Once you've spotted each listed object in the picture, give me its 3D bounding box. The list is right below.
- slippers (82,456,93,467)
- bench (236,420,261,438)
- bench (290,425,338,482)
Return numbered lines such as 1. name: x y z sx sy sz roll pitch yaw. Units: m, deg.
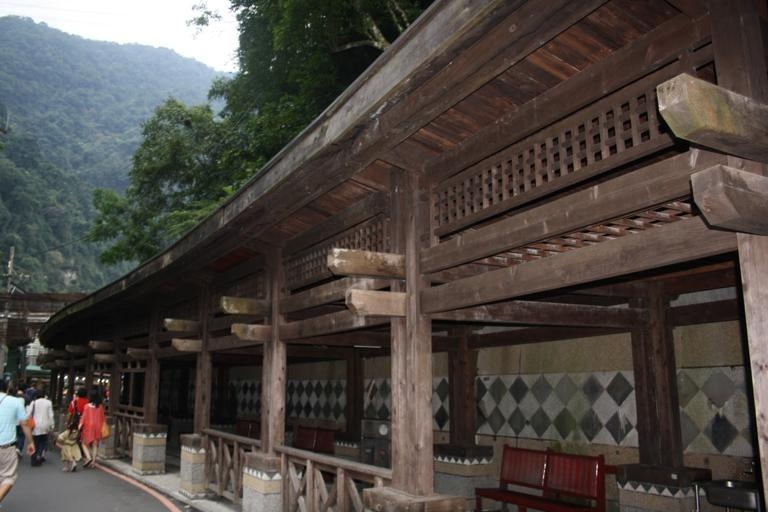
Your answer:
1. slippers: -7.116 4.985 14.330 0.146 0.363 0.153 18 19 -42
2. bench: -3.572 4.596 15.889 0.443 0.404 1.399 8 -18 -18
3. bench: -1.232 3.583 10.845 0.316 1.032 1.795 18 -20 -33
